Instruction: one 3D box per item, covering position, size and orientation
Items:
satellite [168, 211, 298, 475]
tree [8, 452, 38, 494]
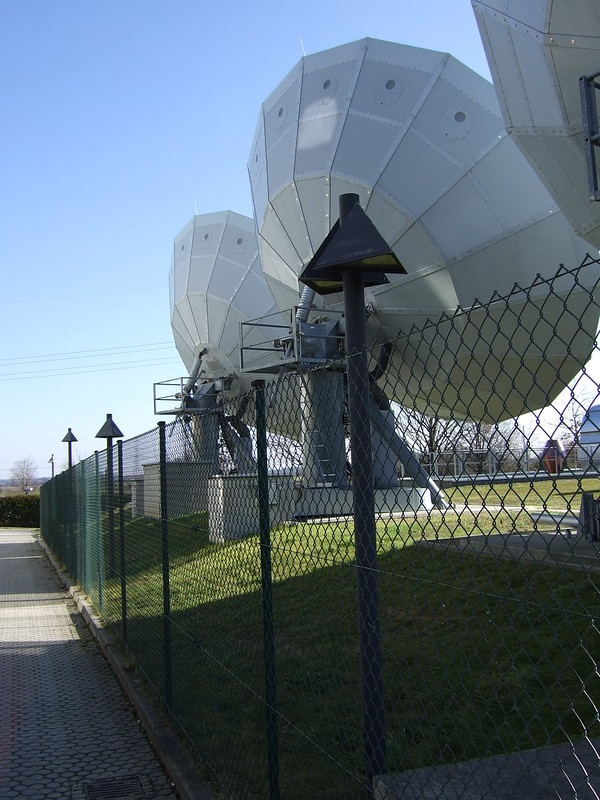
[{"bbox_3d":[-2.194,-4.771,28.769,6.712,7.812,4.428,11,35,36],"label":"satellite"},{"bbox_3d":[-44.185,12.520,97.133,3.139,4.113,60.725,-8,-5,-25],"label":"tree"}]
